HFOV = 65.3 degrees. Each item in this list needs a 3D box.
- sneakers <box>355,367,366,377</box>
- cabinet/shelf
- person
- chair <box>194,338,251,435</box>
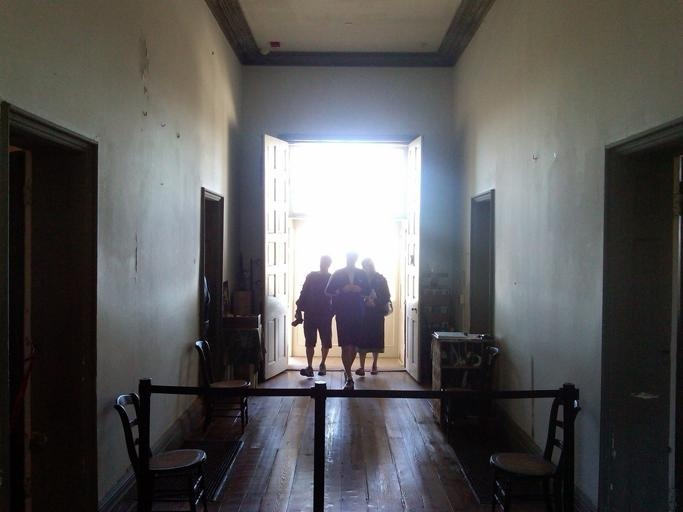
[{"bbox_3d":[0.282,1.747,7.988,0.137,0.159,0.088,2,-5,12],"label":"sneakers"},{"bbox_3d":[1.325,1.402,6.087,0.574,0.978,0.594,1,1,3],"label":"cabinet/shelf"},{"bbox_3d":[0.220,0.890,7.725,1.008,1.822,0.737,3,-3,-40],"label":"person"},{"bbox_3d":[-1.319,1.423,5.933,0.605,0.944,0.614,-2,-1,6],"label":"chair"}]
